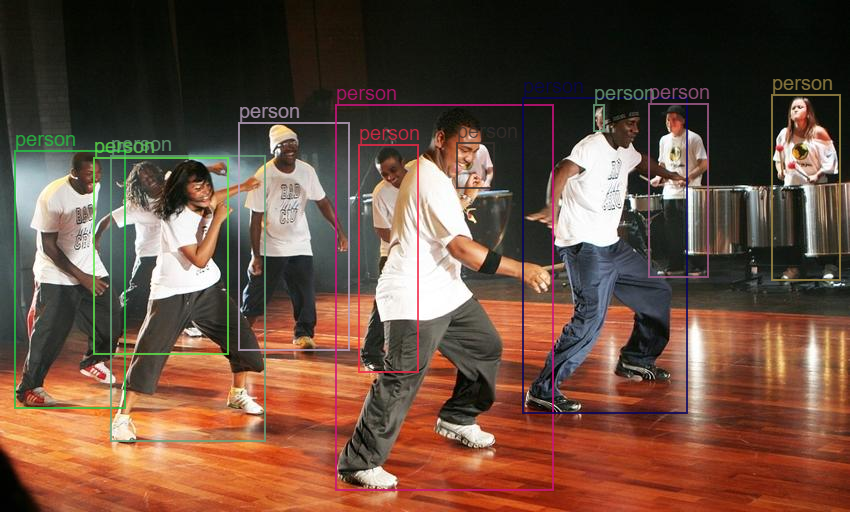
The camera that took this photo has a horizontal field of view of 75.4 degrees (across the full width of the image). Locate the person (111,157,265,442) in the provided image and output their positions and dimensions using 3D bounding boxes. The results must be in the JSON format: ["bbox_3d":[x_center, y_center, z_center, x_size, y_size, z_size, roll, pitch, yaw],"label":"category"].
[{"bbox_3d":[-1.731,0.299,3.890,0.974,1.909,0.463,-9,11,-29],"label":"person"}]

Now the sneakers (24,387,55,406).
[{"bbox_3d":[-3.173,1.166,4.567,0.236,0.109,0.126,0,-1,8],"label":"sneakers"}]

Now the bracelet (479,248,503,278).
[{"bbox_3d":[0.340,0.031,2.935,0.124,0.089,0.117,-5,45,-37],"label":"bracelet"}]

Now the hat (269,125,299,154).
[{"bbox_3d":[-1.490,-1.227,5.730,0.246,0.268,0.293,-5,10,-12],"label":"hat"}]

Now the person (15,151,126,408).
[{"bbox_3d":[-3.086,0.175,4.691,0.618,2.092,0.872,3,12,32],"label":"person"}]

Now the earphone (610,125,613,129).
[{"bbox_3d":[1.361,-0.938,4.006,0.031,0.022,0.029,-1,1,10],"label":"earphone"}]

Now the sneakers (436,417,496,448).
[{"bbox_3d":[0.275,1.150,3.612,0.366,0.161,0.164,9,8,9],"label":"sneakers"}]

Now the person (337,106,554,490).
[{"bbox_3d":[0.003,0.240,3.155,1.074,2.103,0.733,-5,10,-11],"label":"person"}]

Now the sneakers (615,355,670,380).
[{"bbox_3d":[1.779,0.935,4.585,0.463,0.212,0.163,1,2,12],"label":"sneakers"}]

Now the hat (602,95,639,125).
[{"bbox_3d":[1.445,-1.096,4.061,0.247,0.195,0.185,-22,20,-5],"label":"hat"}]

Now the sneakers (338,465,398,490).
[{"bbox_3d":[-0.309,1.243,3.170,0.331,0.146,0.127,-2,3,12],"label":"sneakers"}]

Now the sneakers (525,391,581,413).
[{"bbox_3d":[0.953,1.079,4.067,0.396,0.160,0.142,-2,-1,15],"label":"sneakers"}]

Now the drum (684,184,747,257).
[{"bbox_3d":[3.870,-0.461,7.291,0.894,0.882,0.874,-1,-1,-18],"label":"drum"}]
